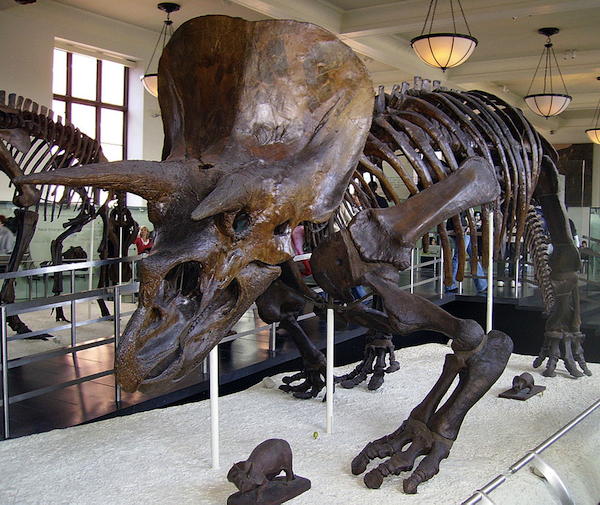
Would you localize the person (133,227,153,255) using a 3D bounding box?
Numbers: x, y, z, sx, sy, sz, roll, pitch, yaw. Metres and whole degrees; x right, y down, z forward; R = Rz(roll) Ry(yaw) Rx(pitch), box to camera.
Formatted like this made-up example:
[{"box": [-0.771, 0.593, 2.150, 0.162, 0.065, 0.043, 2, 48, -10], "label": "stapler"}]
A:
[{"box": [-2.921, -0.230, 9.064, 0.292, 0.536, 2.446, 1, 2, -18], "label": "person"}]

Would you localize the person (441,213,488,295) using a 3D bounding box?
[{"box": [2.518, 0.055, 7.524, 0.837, 1.755, 0.396, 13, -42, 0], "label": "person"}]
